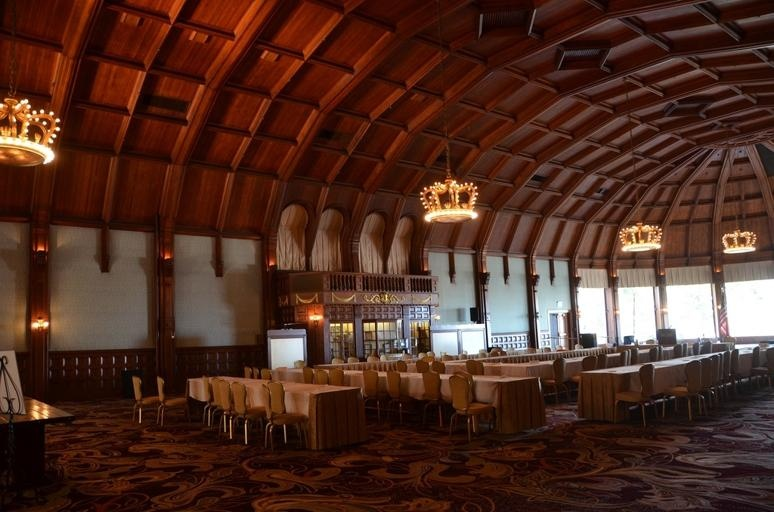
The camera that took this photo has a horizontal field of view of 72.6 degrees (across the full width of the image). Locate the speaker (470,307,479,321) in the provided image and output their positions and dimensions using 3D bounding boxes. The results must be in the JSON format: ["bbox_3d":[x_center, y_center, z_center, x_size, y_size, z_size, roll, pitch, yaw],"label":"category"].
[{"bbox_3d":[4.049,2.758,24.258,0.392,0.709,0.839,-3,-1,6],"label":"speaker"}]

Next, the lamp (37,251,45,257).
[{"bbox_3d":[-10.450,-0.045,16.013,0.138,0.158,0.255,-6,-5,37],"label":"lamp"}]

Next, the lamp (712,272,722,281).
[{"bbox_3d":[17.485,1.100,27.884,0.518,0.490,0.158,-3,0,25],"label":"lamp"}]

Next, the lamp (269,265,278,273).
[{"bbox_3d":[-4.204,0.479,19.663,0.114,0.287,0.342,-3,-1,39],"label":"lamp"}]

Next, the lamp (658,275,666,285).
[{"bbox_3d":[15.148,1.335,29.026,0.449,0.479,0.126,-3,0,6],"label":"lamp"}]

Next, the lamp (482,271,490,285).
[{"bbox_3d":[4.758,1.082,25.158,0.199,0.569,0.682,-3,-1,32],"label":"lamp"}]
